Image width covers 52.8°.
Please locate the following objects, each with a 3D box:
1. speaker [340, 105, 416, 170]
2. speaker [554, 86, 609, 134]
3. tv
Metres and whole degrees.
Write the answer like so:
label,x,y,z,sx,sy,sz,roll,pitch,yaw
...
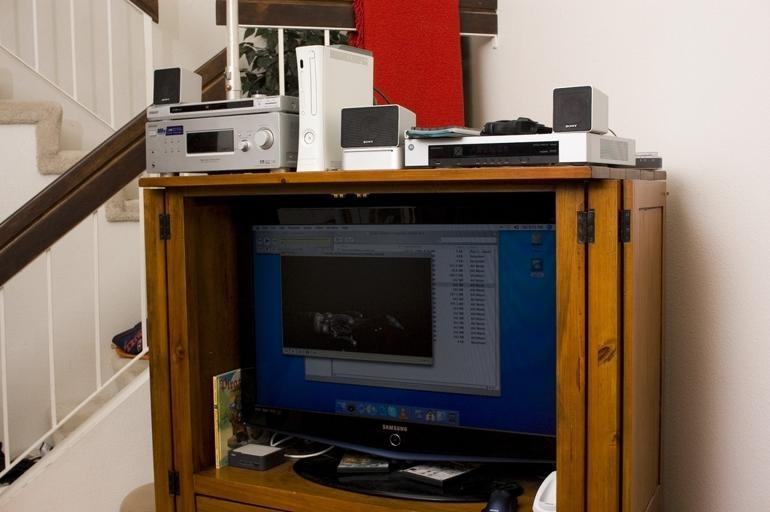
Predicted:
label,x,y,z,sx,sy,sz,roll,pitch,yaw
speaker,-0.028,-0.355,2.409,0.199,0.191,0.204,2,4,22
speaker,0.551,-0.406,2.222,0.134,0.121,0.146,3,5,35
tv,0.071,0.322,2.522,0.990,0.664,0.252,2,1,20
